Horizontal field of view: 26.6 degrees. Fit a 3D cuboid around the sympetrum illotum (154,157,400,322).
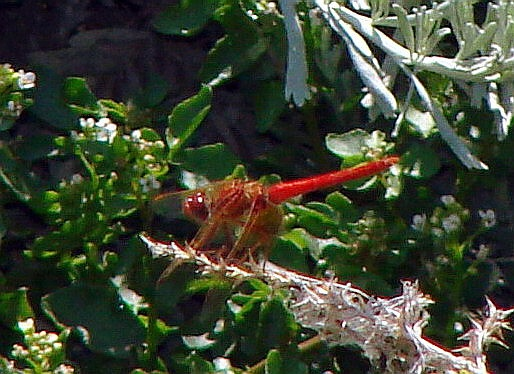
[{"bbox_3d":[0.028,0.029,1.328,0.308,0.093,0.083,-13,29,7],"label":"sympetrum illotum"}]
